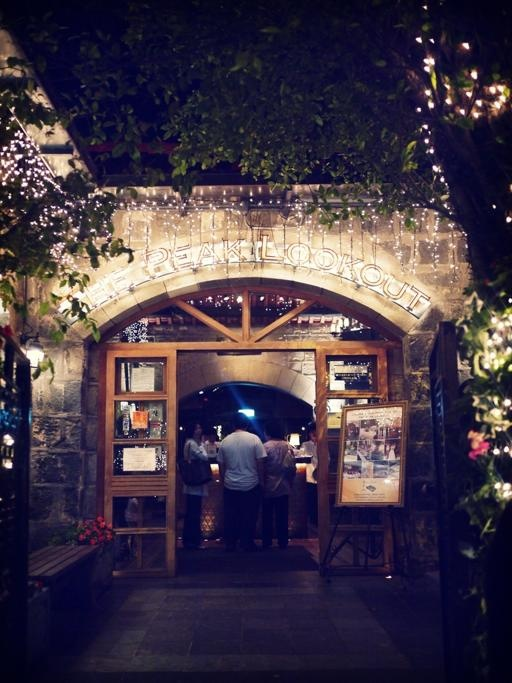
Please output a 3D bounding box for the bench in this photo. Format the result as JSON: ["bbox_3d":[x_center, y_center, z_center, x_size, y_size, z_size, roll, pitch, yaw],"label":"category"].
[{"bbox_3d":[-1.363,1.681,4.257,0.400,0.409,0.650,-4,-1,13],"label":"bench"}]

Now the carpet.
[{"bbox_3d":[-0.118,2.217,6.357,1.368,0.056,1.495,0,-9,-5],"label":"carpet"}]

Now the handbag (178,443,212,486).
[{"bbox_3d":[-0.686,1.370,7.014,0.330,0.482,0.226,0,-9,-5],"label":"handbag"}]

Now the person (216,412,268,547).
[{"bbox_3d":[-0.157,1.585,7.041,0.534,1.470,0.569,-1,-9,1],"label":"person"}]

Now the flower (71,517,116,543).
[{"bbox_3d":[-1.319,1.530,5.001,0.227,0.190,0.228,-6,-10,39],"label":"flower"}]
